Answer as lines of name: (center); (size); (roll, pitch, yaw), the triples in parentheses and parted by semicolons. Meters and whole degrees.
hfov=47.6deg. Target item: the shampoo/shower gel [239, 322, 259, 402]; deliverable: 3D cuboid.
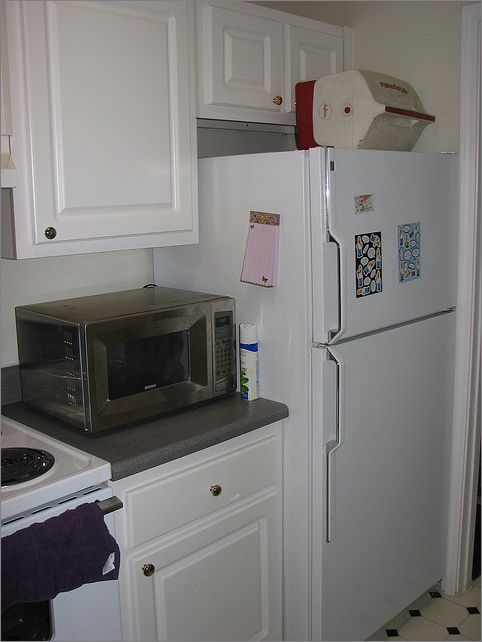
shampoo/shower gel: (0.022, 0.117, 1.567); (0.073, 0.225, 0.064); (6, 12, 7)

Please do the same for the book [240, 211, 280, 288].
book: (0.055, -0.197, 1.472); (0.025, 0.253, 0.154); (3, 7, -41)
